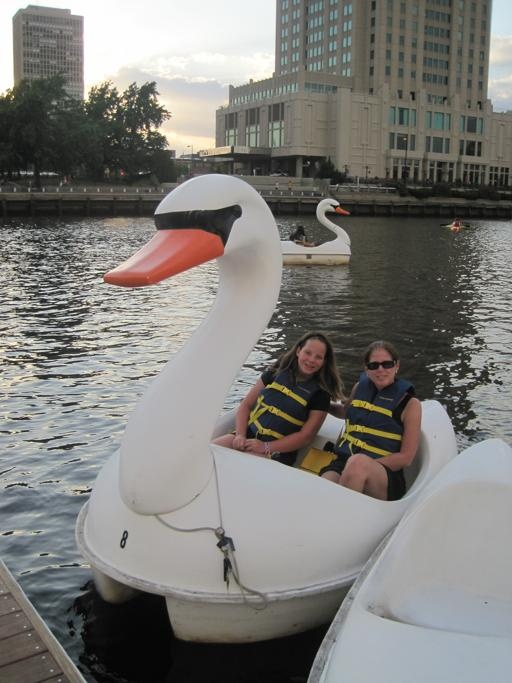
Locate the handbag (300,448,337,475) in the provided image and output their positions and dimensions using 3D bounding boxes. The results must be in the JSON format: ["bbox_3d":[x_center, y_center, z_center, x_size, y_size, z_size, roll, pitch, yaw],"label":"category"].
[{"bbox_3d":[0.351,0.707,4.215,0.153,0.033,0.144,13,40,27],"label":"handbag"}]
